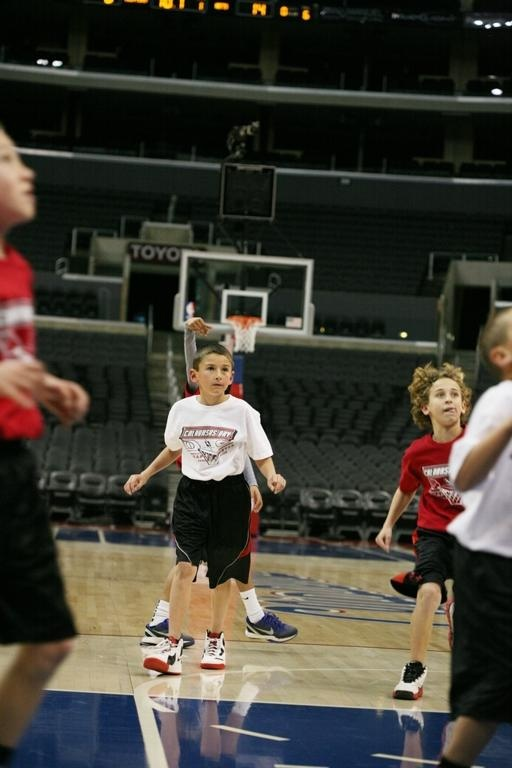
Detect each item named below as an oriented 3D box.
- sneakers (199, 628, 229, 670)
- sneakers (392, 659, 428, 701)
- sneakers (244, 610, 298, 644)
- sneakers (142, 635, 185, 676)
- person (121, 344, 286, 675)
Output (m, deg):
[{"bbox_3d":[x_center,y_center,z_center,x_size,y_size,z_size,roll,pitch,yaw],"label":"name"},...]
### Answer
[{"bbox_3d":[-0.183,1.115,3.455,0.070,0.083,0.200,0,-6,3],"label":"sneakers"},{"bbox_3d":[0.583,1.131,3.156,0.079,0.101,0.214,2,-22,15],"label":"sneakers"},{"bbox_3d":[0.075,1.247,4.319,0.311,0.138,0.119,7,10,9],"label":"sneakers"},{"bbox_3d":[-0.362,1.075,3.286,0.172,0.183,0.172,6,5,-11],"label":"sneakers"},{"bbox_3d":[-0.229,0.547,3.453,0.591,1.409,0.541,6,5,-15],"label":"person"}]
